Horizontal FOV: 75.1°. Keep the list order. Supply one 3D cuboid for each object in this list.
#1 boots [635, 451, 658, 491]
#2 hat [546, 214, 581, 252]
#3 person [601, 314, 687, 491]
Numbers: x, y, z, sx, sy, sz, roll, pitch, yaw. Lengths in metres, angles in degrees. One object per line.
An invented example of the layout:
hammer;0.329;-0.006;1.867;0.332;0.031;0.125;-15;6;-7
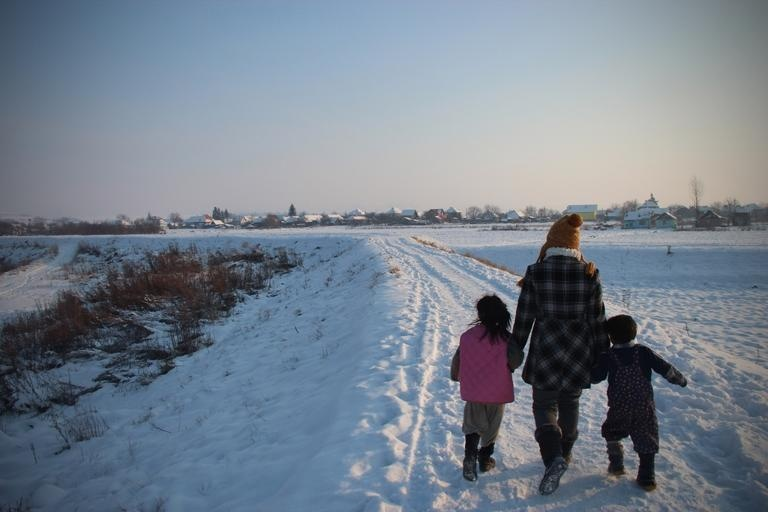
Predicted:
boots;5.464;4.557;10.582;0.233;0.508;0.511;22;-30;-24
hat;3.854;-0.428;10.760;0.601;0.814;0.790;19;-20;-33
person;5.256;3.021;10.492;1.385;3.661;0.426;-3;5;14
